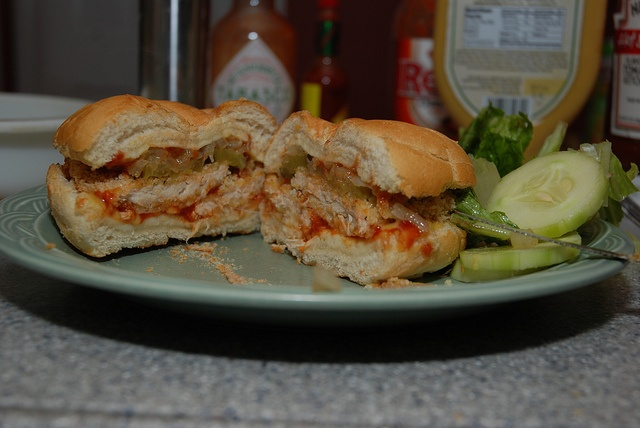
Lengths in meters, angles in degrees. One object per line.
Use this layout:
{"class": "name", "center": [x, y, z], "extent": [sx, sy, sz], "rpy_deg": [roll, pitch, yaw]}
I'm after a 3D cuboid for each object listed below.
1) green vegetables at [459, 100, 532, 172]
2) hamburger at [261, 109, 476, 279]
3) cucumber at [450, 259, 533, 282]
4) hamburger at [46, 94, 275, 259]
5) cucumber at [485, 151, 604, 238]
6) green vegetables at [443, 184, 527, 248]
{"class": "green vegetables", "center": [0.546, -0.125, 2.118], "extent": [0.312, 0.312, 0.097], "rpy_deg": [-2, -17, 7]}
{"class": "hamburger", "center": [0.161, -0.091, 2.008], "extent": [0.498, 0.466, 0.678], "rpy_deg": [-15, 20, -36]}
{"class": "cucumber", "center": [0.480, 0.150, 1.818], "extent": [0.196, 0.053, 0.253], "rpy_deg": [6, 4, 13]}
{"class": "hamburger", "center": [-0.540, -0.082, 1.959], "extent": [0.459, 0.494, 0.633], "rpy_deg": [3, 7, 42]}
{"class": "cucumber", "center": [0.680, -0.084, 1.857], "extent": [0.333, 0.250, 0.223], "rpy_deg": [7, 11, 43]}
{"class": "green vegetables", "center": [0.461, 0.009, 1.799], "extent": [0.161, 0.049, 0.157], "rpy_deg": [8, 33, -3]}
